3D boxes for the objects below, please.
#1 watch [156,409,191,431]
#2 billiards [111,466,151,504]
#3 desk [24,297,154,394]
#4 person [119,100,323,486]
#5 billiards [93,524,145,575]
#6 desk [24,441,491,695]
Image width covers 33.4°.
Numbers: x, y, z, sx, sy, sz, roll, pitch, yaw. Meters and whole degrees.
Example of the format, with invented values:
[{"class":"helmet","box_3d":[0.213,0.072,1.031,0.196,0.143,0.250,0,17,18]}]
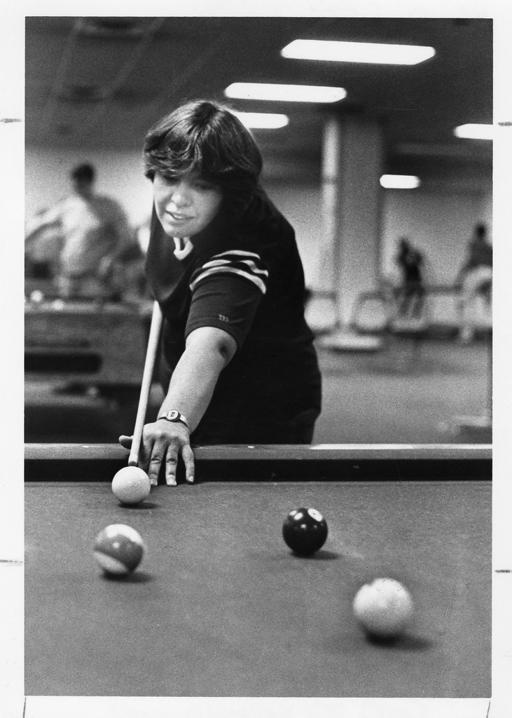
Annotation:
[{"class":"watch","box_3d":[-0.213,0.152,2.238,0.073,0.063,0.047,2,42,35]},{"class":"billiards","box_3d":[-0.284,0.292,2.021,0.088,0.084,0.091,-27,-28,34]},{"class":"desk","box_3d":[-0.574,-0.051,2.406,0.495,0.254,0.340,-2,10,-34]},{"class":"person","box_3d":[-0.080,-0.173,2.414,0.408,1.097,0.429,-1,11,-27]},{"class":"billiards","box_3d":[-0.286,0.382,1.776,0.113,0.121,0.106,-5,-3,-21]},{"class":"desk","box_3d":[0.035,0.474,2.123,1.037,0.646,0.356,0,-4,-6]}]
